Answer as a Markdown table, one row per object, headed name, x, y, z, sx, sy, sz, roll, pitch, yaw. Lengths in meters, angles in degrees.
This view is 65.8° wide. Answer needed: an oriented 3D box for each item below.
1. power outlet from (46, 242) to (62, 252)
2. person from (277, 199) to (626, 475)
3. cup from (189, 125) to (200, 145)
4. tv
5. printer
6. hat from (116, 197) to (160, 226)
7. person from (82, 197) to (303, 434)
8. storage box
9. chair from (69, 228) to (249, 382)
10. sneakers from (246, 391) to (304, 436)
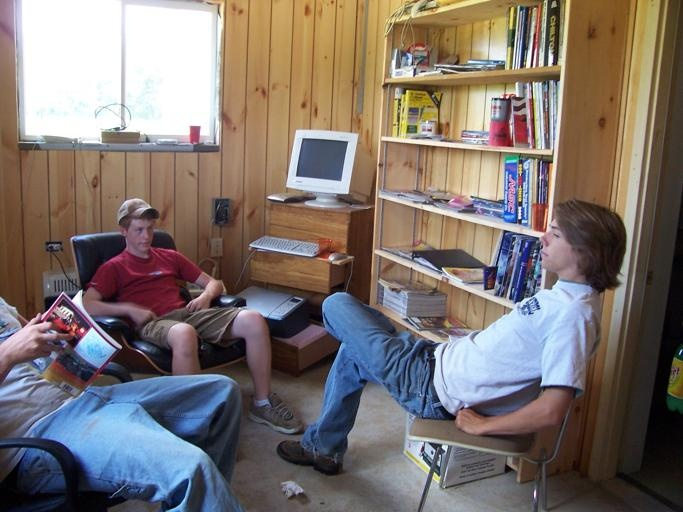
| name | x | y | z | sx | sy | sz | roll | pitch | yaw |
| --- | --- | --- | --- | --- | --- | --- | --- | --- | --- |
| power outlet | -1.931 | -0.063 | 3.549 | 0.088 | 0.061 | 0.019 | 1 | 4 | -38 |
| person | 0.519 | 0.198 | 2.782 | 1.477 | 1.641 | 0.768 | 15 | 8 | 24 |
| cup | -1.097 | -0.910 | 3.954 | 0.091 | 0.137 | 0.187 | -4 | 16 | -16 |
| tv | -0.125 | -0.625 | 3.812 | 0.521 | 0.560 | 0.307 | 8 | 9 | 21 |
| printer | -0.397 | 0.349 | 3.529 | 0.409 | 0.163 | 0.294 | 17 | 30 | 32 |
| hat | -1.182 | -0.248 | 3.005 | 0.219 | 0.115 | 0.156 | -20 | 4 | 16 |
| person | -0.737 | 0.278 | 3.372 | 1.384 | 1.557 | 0.989 | 3 | 16 | 38 |
| storage box | 0.581 | 0.999 | 2.724 | 0.494 | 0.317 | 0.496 | 8 | 7 | -18 |
| chair | -1.013 | 0.140 | 3.147 | 0.909 | 0.989 | 0.835 | 4 | 9 | 42 |
| sneakers | -0.364 | 0.878 | 2.976 | 0.345 | 0.156 | 0.144 | 16 | 16 | 24 |
